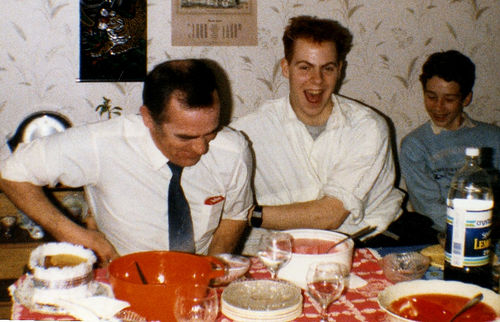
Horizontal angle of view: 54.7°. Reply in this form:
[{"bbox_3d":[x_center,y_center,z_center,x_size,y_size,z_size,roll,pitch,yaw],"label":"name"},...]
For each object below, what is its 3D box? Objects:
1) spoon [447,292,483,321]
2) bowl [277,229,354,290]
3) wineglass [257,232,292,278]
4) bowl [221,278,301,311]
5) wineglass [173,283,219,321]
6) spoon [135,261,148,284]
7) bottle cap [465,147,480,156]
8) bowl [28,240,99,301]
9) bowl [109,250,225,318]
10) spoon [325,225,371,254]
[{"bbox_3d":[0.888,0.608,1.997,0.144,0.020,0.017,-36,-7,-7],"label":"spoon"},{"bbox_3d":[0.340,0.447,2.282,0.267,0.104,0.299,-15,8,-30],"label":"bowl"},{"bbox_3d":[0.113,0.422,2.153,0.178,0.264,0.182,0,-4,3],"label":"wineglass"},{"bbox_3d":[0.055,0.568,2.090,0.355,0.065,0.218,-2,10,-5],"label":"bowl"},{"bbox_3d":[-0.220,0.575,1.949,0.150,0.115,0.162,1,-7,-1],"label":"wineglass"},{"bbox_3d":[-0.475,0.487,2.123,0.034,0.123,0.002,-28,-7,-5],"label":"spoon"},{"bbox_3d":[1.005,-0.038,2.193,0.049,0.028,0.048,-1,-3,8],"label":"bottle cap"},{"bbox_3d":[-0.801,0.484,2.073,0.283,0.197,0.228,3,13,-23],"label":"bowl"},{"bbox_3d":[-0.381,0.508,2.057,0.361,0.136,0.283,4,6,-8],"label":"bowl"},{"bbox_3d":[0.504,0.408,2.547,0.356,0.039,0.051,-26,-23,-2],"label":"spoon"}]
